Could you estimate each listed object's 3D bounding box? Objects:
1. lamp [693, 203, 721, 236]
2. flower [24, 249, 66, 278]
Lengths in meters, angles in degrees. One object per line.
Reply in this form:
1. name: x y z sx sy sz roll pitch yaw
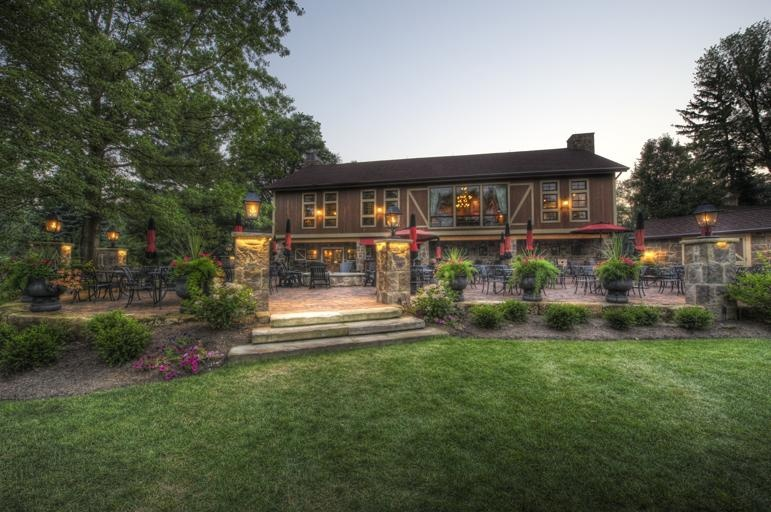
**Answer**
1. lamp: 13.255 -1.484 21.241 0.682 1.397 0.900 -3 -3 31
2. flower: -13.805 0.357 20.873 1.457 1.086 1.539 -4 5 -35
